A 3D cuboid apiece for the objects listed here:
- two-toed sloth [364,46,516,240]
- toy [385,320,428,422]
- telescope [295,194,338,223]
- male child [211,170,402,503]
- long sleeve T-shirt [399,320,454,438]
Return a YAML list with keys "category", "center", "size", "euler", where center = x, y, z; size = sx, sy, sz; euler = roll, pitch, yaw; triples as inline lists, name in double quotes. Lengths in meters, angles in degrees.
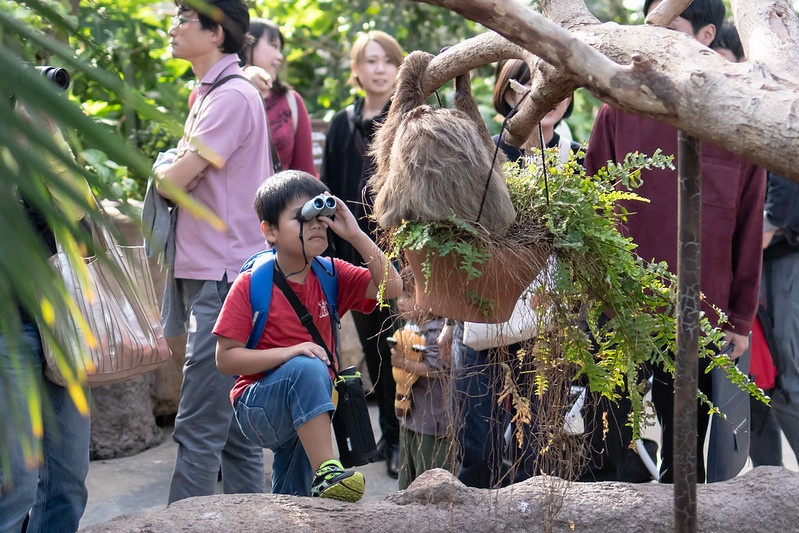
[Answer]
- category: "two-toed sloth"
  center: [0.102, -0.300, 2.603]
  size: [0.394, 0.577, 0.224]
  euler: [-1, -5, 5]
- category: "toy"
  center: [0.010, 0.397, 3.210]
  size: [0.142, 0.366, 0.145]
  euler: [13, 15, 39]
- category: "telescope"
  center: [-0.280, -0.199, 3.077]
  size: [0.088, 0.053, 0.117]
  euler: [-18, -2, -20]
- category: "male child"
  center: [-0.360, 0.372, 3.204]
  size: [0.534, 1.316, 0.806]
  euler: [4, -14, -33]
- category: "long sleeve T-shirt"
  center: [0.091, 0.470, 3.456]
  size: [0.193, 0.470, 0.187]
  euler: [-6, 17, -37]
